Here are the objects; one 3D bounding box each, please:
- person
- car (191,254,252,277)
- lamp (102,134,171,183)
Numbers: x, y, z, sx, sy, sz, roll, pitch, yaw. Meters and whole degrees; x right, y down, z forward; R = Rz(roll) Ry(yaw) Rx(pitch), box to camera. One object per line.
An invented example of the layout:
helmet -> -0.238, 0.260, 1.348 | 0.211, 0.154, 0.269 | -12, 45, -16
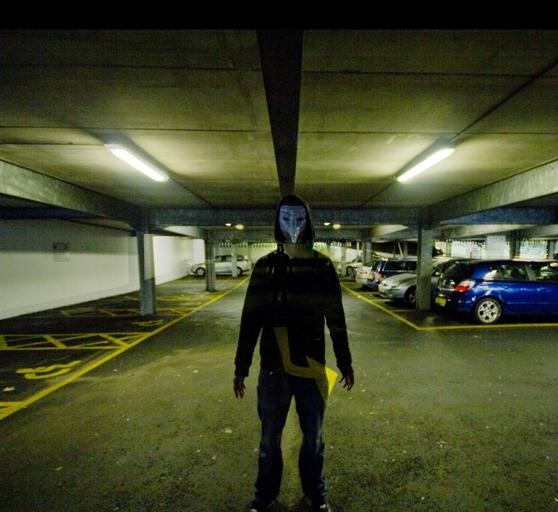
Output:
person -> 0.136, 0.997, 5.401 | 1.162, 3.185, 0.459 | -2, 7, -6
car -> -2.909, 0.497, 27.272 | 2.929, 0.942, 1.238 | 1, -2, -7
lamp -> -2.094, -1.367, 7.864 | 0.209, 0.082, 1.177 | -28, -16, 9
